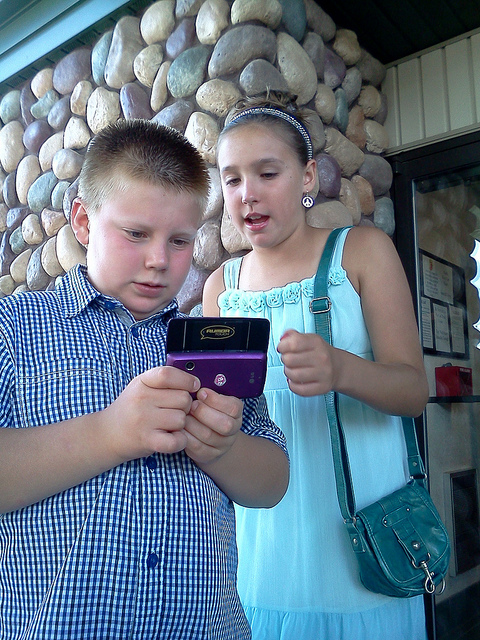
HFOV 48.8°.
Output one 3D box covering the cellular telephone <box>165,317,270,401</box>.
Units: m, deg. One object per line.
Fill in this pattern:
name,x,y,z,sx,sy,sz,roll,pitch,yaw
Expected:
cellular telephone,-0.025,0.052,0.742,0.154,0.037,0.107,-2,88,22
